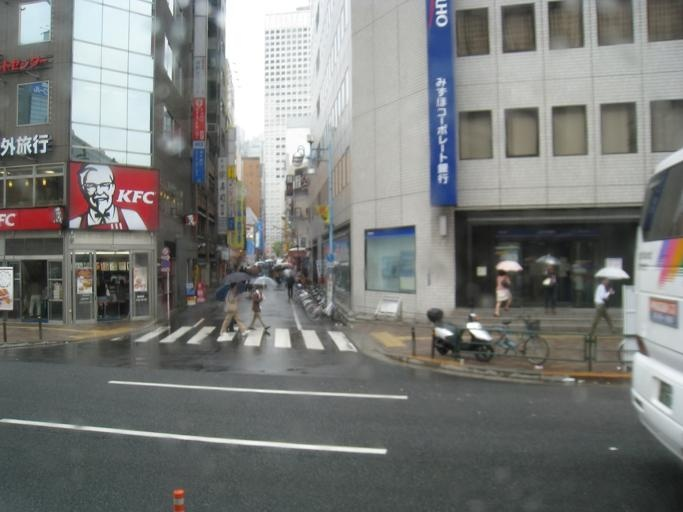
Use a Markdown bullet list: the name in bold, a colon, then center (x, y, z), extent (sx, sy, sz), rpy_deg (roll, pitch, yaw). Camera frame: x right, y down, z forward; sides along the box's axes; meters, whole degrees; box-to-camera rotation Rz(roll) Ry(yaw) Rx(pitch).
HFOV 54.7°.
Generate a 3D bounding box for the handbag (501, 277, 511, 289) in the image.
- **handbag**: center (7.254, 1.204, 29.443), extent (0.423, 0.511, 0.259), rpy_deg (0, -6, -24)

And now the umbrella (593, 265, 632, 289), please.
- **umbrella**: center (10.494, 0.749, 26.119), extent (1.387, 0.581, 1.508), rpy_deg (1, -4, -23)

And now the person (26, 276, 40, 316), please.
- **person**: center (-15.275, 1.937, 33.048), extent (0.629, 2.297, 0.597), rpy_deg (-1, 24, -26)

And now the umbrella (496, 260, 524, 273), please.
- **umbrella**: center (7.202, 0.480, 28.727), extent (0.778, 0.414, 0.847), rpy_deg (5, 11, 26)
